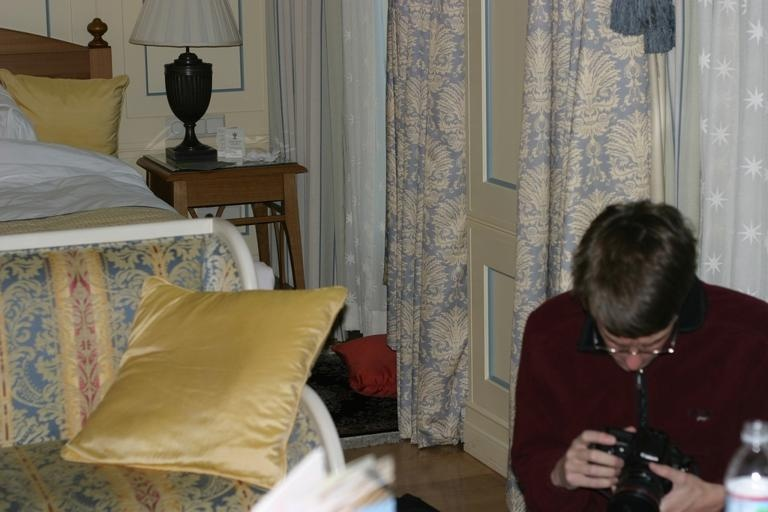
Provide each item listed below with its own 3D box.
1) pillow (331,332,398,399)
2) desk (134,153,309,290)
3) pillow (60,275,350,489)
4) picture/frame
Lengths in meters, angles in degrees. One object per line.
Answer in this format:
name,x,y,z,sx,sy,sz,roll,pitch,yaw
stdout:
pillow,-0.095,0.515,3.368,0.259,0.091,0.288,-9,53,-2
desk,-0.951,-0.266,4.180,0.876,0.864,0.825,-7,17,-23
pillow,-0.485,0.350,1.997,0.630,0.498,0.468,2,10,25
picture/frame,-1.085,-1.167,3.997,0.620,0.751,0.028,-7,9,-22
